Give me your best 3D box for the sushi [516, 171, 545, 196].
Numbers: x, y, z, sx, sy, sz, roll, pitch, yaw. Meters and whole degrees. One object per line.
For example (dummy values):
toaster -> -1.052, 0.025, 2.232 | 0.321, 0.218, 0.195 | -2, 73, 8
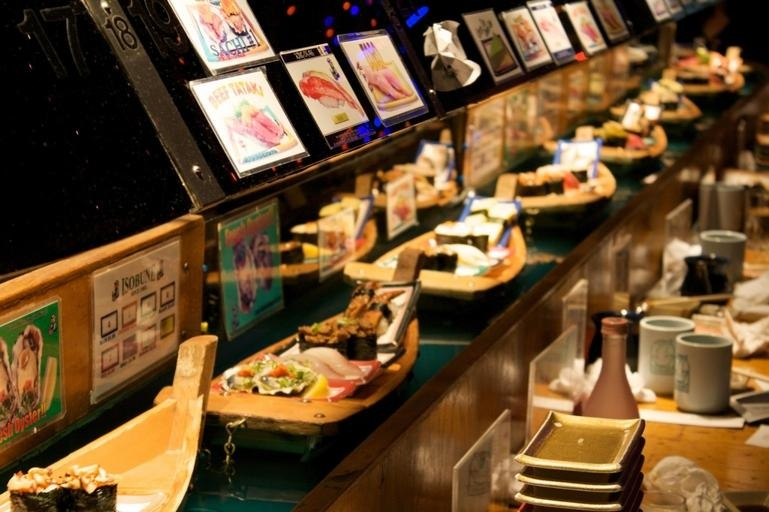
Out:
sushi -> 0.560, -0.281, 2.445 | 0.093, 0.026, 0.101 | 2, 43, 4

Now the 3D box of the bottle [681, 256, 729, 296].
bottle -> 1.420, 0.069, 2.833 | 0.179, 0.176, 0.185 | 3, 7, 36

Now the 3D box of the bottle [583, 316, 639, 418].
bottle -> 0.659, 0.292, 1.844 | 0.136, 0.307, 0.146 | 2, 23, -1

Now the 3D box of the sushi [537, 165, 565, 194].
sushi -> 0.650, -0.301, 2.476 | 0.107, 0.035, 0.110 | -4, 32, -10
